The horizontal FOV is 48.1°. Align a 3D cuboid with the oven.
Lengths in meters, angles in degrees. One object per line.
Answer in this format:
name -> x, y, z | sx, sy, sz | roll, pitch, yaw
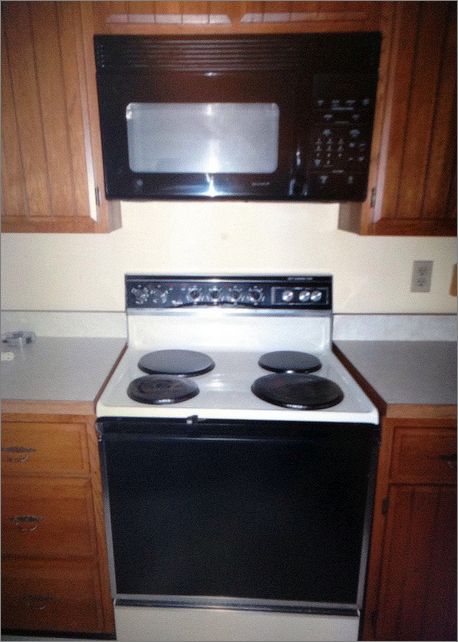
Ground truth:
oven -> 0.010, 0.455, 1.630 | 0.660, 0.534, 0.682 | 0, 18, -1
